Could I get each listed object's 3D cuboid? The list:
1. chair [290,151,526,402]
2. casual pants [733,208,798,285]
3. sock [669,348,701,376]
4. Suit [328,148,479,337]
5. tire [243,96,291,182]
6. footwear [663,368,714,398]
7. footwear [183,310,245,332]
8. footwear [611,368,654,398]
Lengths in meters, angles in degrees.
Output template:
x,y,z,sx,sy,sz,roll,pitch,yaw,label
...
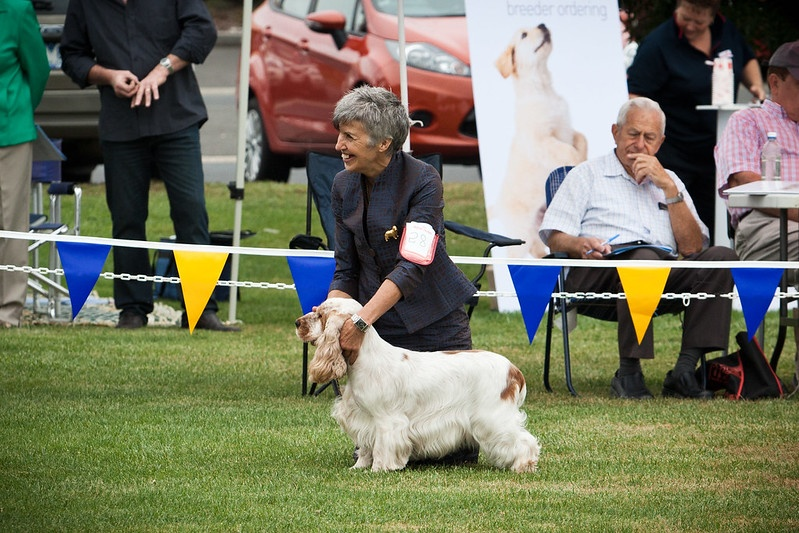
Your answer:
x,y,z,sx,sy,sz,roll,pitch,yaw,label
-0.021,0.154,12.182,1.598,1.823,1.528,-4,6,-39,chair
2.514,-0.118,12.029,0.510,0.264,0.159,-2,-10,-35,casual pants
1.942,0.620,11.982,0.200,0.259,0.161,6,8,7,sock
-0.031,-0.197,11.114,0.816,1.040,0.707,5,24,31,Suit
-1.266,-1.132,16.741,0.308,0.883,0.883,1,0,-21,tire
1.919,0.803,11.984,0.399,0.186,0.137,0,2,21,footwear
-1.419,0.418,13.423,0.512,0.218,0.163,-1,-1,-2,footwear
1.579,0.810,11.939,0.134,0.130,0.304,-1,1,-24,footwear
